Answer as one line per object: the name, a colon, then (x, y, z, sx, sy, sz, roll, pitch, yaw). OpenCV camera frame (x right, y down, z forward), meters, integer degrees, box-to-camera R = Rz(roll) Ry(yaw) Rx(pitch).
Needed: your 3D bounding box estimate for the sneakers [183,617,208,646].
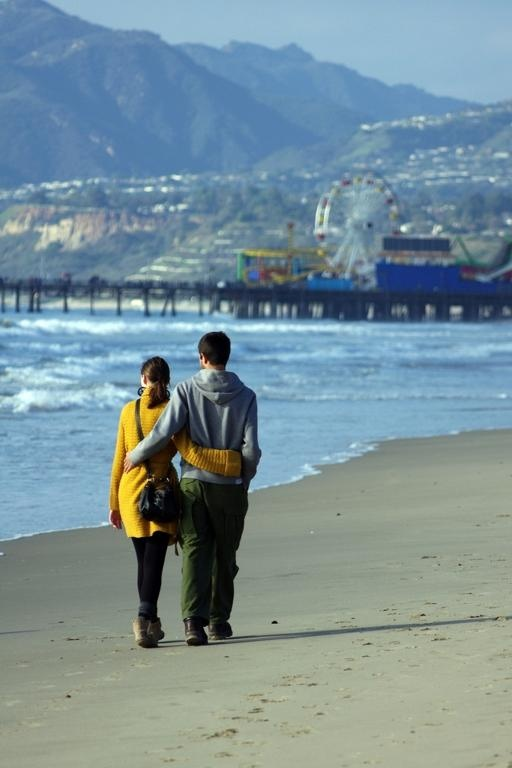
sneakers: (-0.231, 0.979, 6.448, 0.094, 0.116, 0.156, 0, 3, -1)

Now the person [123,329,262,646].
person: (-0.209, 0.416, 6.490, 0.446, 1.243, 0.431, 1, 3, 20)

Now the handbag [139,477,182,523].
handbag: (-0.374, 0.465, 6.376, 0.144, 0.166, 0.076, 3, 7, -2)

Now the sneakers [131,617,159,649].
sneakers: (-0.429, 0.980, 6.390, 0.092, 0.126, 0.099, 0, 3, -3)
